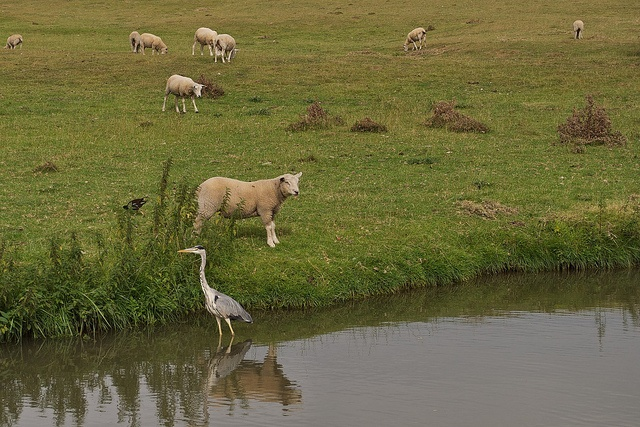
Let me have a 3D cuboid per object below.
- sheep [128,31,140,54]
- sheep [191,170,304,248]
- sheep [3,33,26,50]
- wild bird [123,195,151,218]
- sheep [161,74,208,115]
[{"bbox_3d":[-13.580,-12.766,80.819,0.722,1.527,1.365,-3,8,-9],"label":"sheep"},{"bbox_3d":[-3.456,-0.224,51.850,5.246,3.416,1.440,2,8,8],"label":"sheep"},{"bbox_3d":[-22.556,-12.803,80.758,1.325,0.999,2.710,-4,8,-16],"label":"sheep"},{"bbox_3d":[-9.035,-0.480,54.443,1.318,0.873,0.526,-17,0,7],"label":"wild bird"},{"bbox_3d":[-8.391,-7.438,67.628,1.074,2.275,3.308,-4,11,-43],"label":"sheep"}]
